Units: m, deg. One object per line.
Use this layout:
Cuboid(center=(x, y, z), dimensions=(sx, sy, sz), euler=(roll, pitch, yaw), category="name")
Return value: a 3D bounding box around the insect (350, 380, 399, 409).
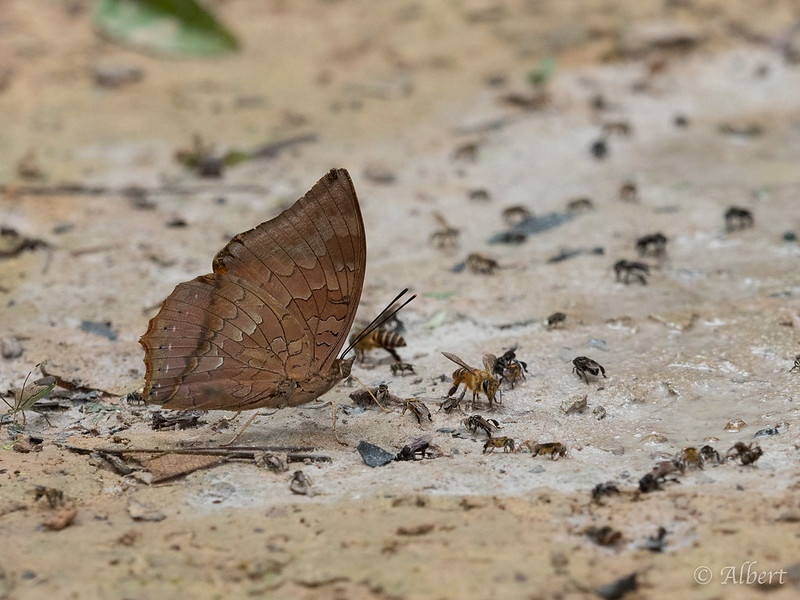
Cuboid(center=(-0.174, 0.625, 6.712), dimensions=(0.210, 0.079, 0.242), euler=(-6, 17, -34), category="insect")
